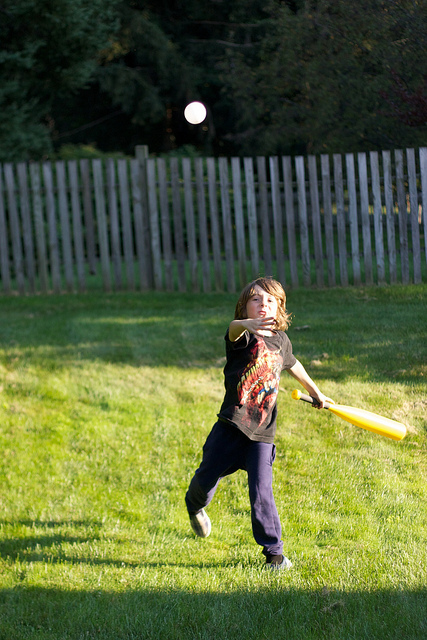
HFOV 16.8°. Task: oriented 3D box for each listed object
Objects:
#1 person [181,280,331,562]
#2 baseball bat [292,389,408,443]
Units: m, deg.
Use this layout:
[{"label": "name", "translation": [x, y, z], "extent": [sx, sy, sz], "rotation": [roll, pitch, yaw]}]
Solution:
[{"label": "person", "translation": [0.250, 0.712, 10.570], "extent": [0.912, 1.982, 0.671], "rotation": [0, 6, 2]}, {"label": "baseball bat", "translation": [1.138, 0.808, 11.896], "extent": [0.779, 0.191, 0.157], "rotation": [19, -25, -4]}]
